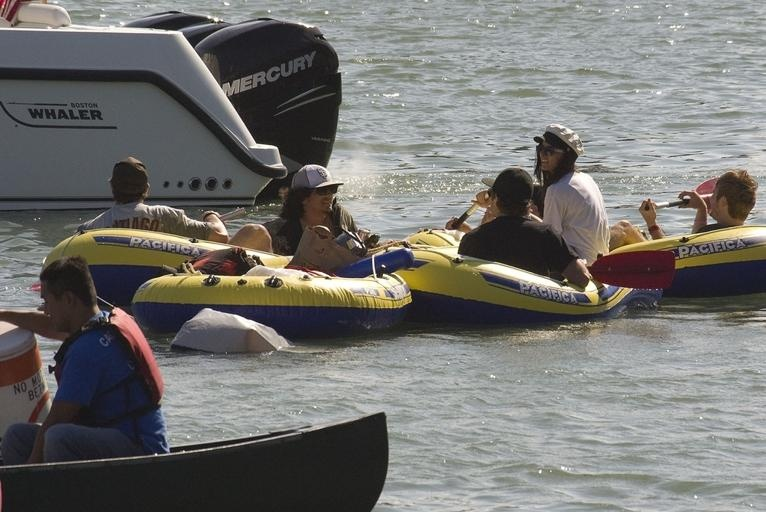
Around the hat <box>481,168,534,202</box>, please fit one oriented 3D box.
[{"bbox_3d":[1.099,-0.644,10.626,0.305,0.174,0.393,-8,23,-34],"label":"hat"}]

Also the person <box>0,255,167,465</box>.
[{"bbox_3d":[-1.897,0.654,7.501,1.045,1.286,0.527,5,9,31],"label":"person"}]

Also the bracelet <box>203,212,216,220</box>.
[{"bbox_3d":[-1.666,-0.383,11.693,0.104,0.051,0.138,-2,3,1],"label":"bracelet"}]

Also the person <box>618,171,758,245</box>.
[{"bbox_3d":[3.052,-0.412,11.939,1.177,0.332,0.849,-20,35,12],"label":"person"}]

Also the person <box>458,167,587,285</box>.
[{"bbox_3d":[1.267,-0.227,10.742,1.167,1.080,0.484,1,8,2],"label":"person"}]

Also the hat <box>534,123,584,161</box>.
[{"bbox_3d":[1.683,-1.081,11.150,0.591,0.172,0.352,17,8,-8],"label":"hat"}]

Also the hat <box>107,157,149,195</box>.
[{"bbox_3d":[-2.255,-0.695,10.959,0.399,0.229,0.460,2,1,-5],"label":"hat"}]

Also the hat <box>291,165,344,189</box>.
[{"bbox_3d":[-0.585,-0.707,11.014,0.428,0.138,0.246,-1,5,9],"label":"hat"}]

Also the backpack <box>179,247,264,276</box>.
[{"bbox_3d":[-1.395,0.062,10.636,0.527,0.126,0.332,-5,-1,-29],"label":"backpack"}]

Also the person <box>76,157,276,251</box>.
[{"bbox_3d":[-1.832,-0.326,11.330,1.833,0.505,1.059,7,23,-13],"label":"person"}]
